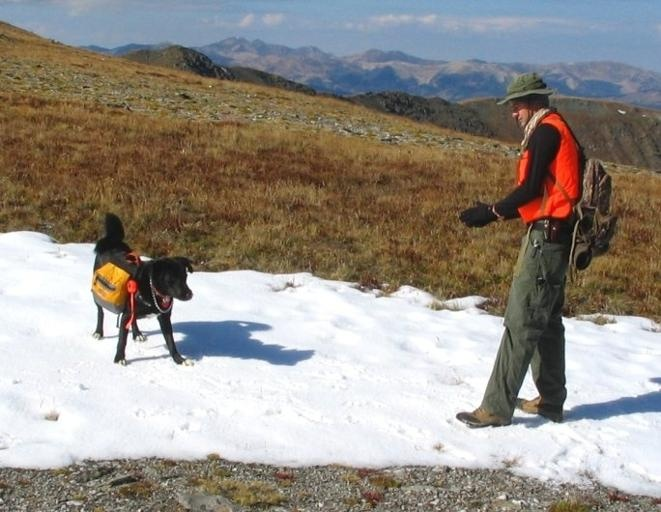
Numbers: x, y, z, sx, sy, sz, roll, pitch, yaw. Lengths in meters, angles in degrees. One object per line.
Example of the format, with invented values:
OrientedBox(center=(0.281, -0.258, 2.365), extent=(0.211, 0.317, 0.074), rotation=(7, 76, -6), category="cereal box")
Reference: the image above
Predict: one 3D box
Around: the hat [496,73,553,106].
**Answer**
OrientedBox(center=(2.402, -2.084, 10.006), extent=(0.725, 0.351, 0.714), rotation=(-8, 14, 1), category="hat")

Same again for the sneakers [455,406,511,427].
OrientedBox(center=(1.884, 1.968, 10.159), extent=(0.487, 0.225, 0.281), rotation=(8, -2, 0), category="sneakers")

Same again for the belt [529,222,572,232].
OrientedBox(center=(2.659, -0.377, 9.770), extent=(0.461, 0.150, 0.128), rotation=(9, 15, 12), category="belt")

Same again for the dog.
OrientedBox(center=(-2.749, 0.416, 11.290), extent=(0.928, 1.891, 2.646), rotation=(3, 5, -37), category="dog")
